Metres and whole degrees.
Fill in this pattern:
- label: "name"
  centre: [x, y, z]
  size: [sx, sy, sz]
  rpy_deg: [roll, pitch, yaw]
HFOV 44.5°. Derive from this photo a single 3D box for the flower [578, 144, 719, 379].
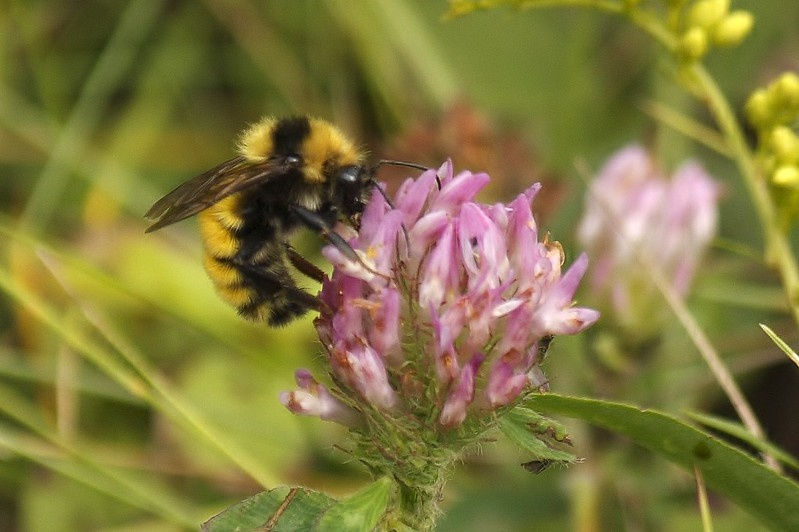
- label: "flower"
  centre: [0.795, -0.131, 2.990]
  size: [0.387, 0.593, 0.370]
  rpy_deg: [14, -15, -33]
